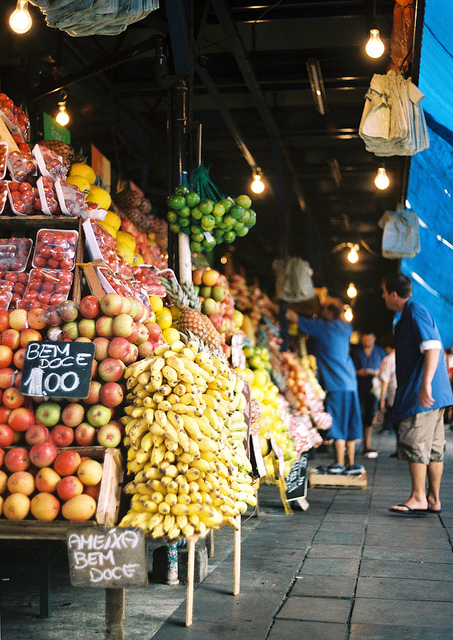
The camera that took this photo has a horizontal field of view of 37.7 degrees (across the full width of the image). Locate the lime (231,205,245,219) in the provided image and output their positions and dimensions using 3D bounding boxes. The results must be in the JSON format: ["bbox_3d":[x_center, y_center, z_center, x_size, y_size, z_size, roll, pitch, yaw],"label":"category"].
[{"bbox_3d":[0.068,-0.684,4.166,0.074,0.068,0.092,-4,-2,-3],"label":"lime"}]

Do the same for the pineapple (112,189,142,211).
[{"bbox_3d":[-0.941,-1.094,6.178,0.301,0.224,0.230,-6,-28,-12],"label":"pineapple"}]

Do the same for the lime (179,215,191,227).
[{"bbox_3d":[-0.272,-0.630,4.233,0.062,0.061,0.067,7,-47,1],"label":"lime"}]

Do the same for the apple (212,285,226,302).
[{"bbox_3d":[-0.062,-0.177,4.451,0.103,0.104,0.100,10,3,33],"label":"apple"}]

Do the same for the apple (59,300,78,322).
[{"bbox_3d":[-0.685,-0.038,2.848,0.077,0.090,0.054,0,-6,-15],"label":"apple"}]

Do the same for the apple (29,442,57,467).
[{"bbox_3d":[-0.734,0.536,2.634,0.065,0.064,0.080,-44,-10,27],"label":"apple"}]

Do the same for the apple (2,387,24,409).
[{"bbox_3d":[-0.893,0.330,2.817,0.087,0.080,0.081,19,21,-12],"label":"apple"}]

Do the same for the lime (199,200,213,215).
[{"bbox_3d":[-0.134,-0.703,4.115,0.079,0.073,0.089,9,15,-27],"label":"lime"}]

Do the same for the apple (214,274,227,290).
[{"bbox_3d":[-0.035,-0.271,4.567,0.091,0.088,0.090,23,14,-10],"label":"apple"}]

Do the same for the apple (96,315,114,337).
[{"bbox_3d":[-0.522,0.026,2.871,0.087,0.092,0.080,3,-29,-5],"label":"apple"}]

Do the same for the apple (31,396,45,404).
[{"bbox_3d":[-0.791,0.329,2.757,0.036,0.028,0.029,22,-17,22],"label":"apple"}]

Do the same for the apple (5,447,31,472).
[{"bbox_3d":[-0.852,0.563,2.675,0.098,0.094,0.045,0,-6,-12],"label":"apple"}]

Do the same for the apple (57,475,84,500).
[{"bbox_3d":[-0.612,0.654,2.632,0.090,0.080,0.104,-12,2,-41],"label":"apple"}]

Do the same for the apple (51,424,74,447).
[{"bbox_3d":[-0.671,0.471,2.699,0.090,0.080,0.079,1,-16,-8],"label":"apple"}]

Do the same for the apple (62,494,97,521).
[{"bbox_3d":[-0.568,0.722,2.538,0.120,0.078,0.083,-3,33,-12],"label":"apple"}]

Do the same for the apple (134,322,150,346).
[{"bbox_3d":[-0.384,0.062,2.975,0.100,0.085,0.107,-7,6,-23],"label":"apple"}]

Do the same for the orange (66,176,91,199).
[{"bbox_3d":[-0.950,-0.855,4.229,0.146,0.171,0.294,0,-5,-12],"label":"orange"}]

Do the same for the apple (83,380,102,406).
[{"bbox_3d":[-0.550,0.305,2.782,0.102,0.090,0.095,16,7,-10],"label":"apple"}]

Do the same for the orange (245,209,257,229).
[{"bbox_3d":[0.164,-0.667,4.348,0.062,0.089,0.111,45,-7,16],"label":"orange"}]

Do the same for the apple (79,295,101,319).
[{"bbox_3d":[-0.596,-0.057,2.865,0.079,0.105,0.086,2,-6,-30],"label":"apple"}]

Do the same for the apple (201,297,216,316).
[{"bbox_3d":[-0.116,-0.082,4.394,0.103,0.115,0.099,9,-28,8],"label":"apple"}]

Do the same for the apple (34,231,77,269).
[{"bbox_3d":[-0.820,-0.334,3.122,0.183,0.193,0.095,-3,-6,18],"label":"apple"}]

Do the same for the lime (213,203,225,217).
[{"bbox_3d":[-0.057,-0.688,4.140,0.082,0.072,0.092,0,19,-4],"label":"lime"}]

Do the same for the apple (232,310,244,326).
[{"bbox_3d":[0.075,-0.006,4.802,0.105,0.093,0.115,6,29,-2],"label":"apple"}]

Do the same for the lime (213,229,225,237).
[{"bbox_3d":[-0.058,-0.567,4.282,0.045,0.041,0.050,-9,30,9],"label":"lime"}]

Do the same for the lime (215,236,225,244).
[{"bbox_3d":[-0.054,-0.534,4.401,0.041,0.041,0.051,44,15,12],"label":"lime"}]

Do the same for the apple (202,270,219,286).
[{"bbox_3d":[-0.115,-0.287,4.486,0.112,0.096,0.106,1,18,-4],"label":"apple"}]

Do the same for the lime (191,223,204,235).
[{"bbox_3d":[-0.194,-0.583,4.288,0.072,0.078,0.069,-6,-14,-40],"label":"lime"}]

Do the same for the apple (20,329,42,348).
[{"bbox_3d":[-0.850,0.079,2.858,0.091,0.079,0.098,0,-6,-15],"label":"apple"}]

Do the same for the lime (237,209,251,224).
[{"bbox_3d":[0.119,-0.660,4.249,0.089,0.095,0.085,22,11,3],"label":"lime"}]

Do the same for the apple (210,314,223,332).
[{"bbox_3d":[-0.067,0.014,4.362,0.098,0.093,0.095,-5,-5,-38],"label":"apple"}]

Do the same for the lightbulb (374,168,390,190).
[{"bbox_3d":[1.723,-1.623,7.439,0.125,0.272,0.371,-3,-5,11],"label":"lightbulb"}]

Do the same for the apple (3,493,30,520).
[{"bbox_3d":[-0.824,0.726,2.636,0.100,0.088,0.112,-12,-8,-8],"label":"apple"}]

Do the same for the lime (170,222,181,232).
[{"bbox_3d":[-0.329,-0.597,4.322,0.057,0.053,0.069,-21,-38,35],"label":"lime"}]

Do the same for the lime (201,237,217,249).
[{"bbox_3d":[-0.123,-0.504,4.335,0.074,0.064,0.082,-3,-2,2],"label":"lime"}]

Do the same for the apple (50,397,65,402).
[{"bbox_3d":[-0.707,0.329,2.750,0.035,0.027,0.029,6,-22,40],"label":"apple"}]

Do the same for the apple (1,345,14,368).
[{"bbox_3d":[-0.945,0.153,2.820,0.036,0.097,0.069,-5,-7,34],"label":"apple"}]

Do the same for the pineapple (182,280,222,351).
[{"bbox_3d":[-0.167,-0.028,4.035,0.208,0.401,0.219,1,2,12],"label":"pineapple"}]

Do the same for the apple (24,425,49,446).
[{"bbox_3d":[-0.786,0.472,2.710,0.104,0.085,0.049,-3,-6,22],"label":"apple"}]
